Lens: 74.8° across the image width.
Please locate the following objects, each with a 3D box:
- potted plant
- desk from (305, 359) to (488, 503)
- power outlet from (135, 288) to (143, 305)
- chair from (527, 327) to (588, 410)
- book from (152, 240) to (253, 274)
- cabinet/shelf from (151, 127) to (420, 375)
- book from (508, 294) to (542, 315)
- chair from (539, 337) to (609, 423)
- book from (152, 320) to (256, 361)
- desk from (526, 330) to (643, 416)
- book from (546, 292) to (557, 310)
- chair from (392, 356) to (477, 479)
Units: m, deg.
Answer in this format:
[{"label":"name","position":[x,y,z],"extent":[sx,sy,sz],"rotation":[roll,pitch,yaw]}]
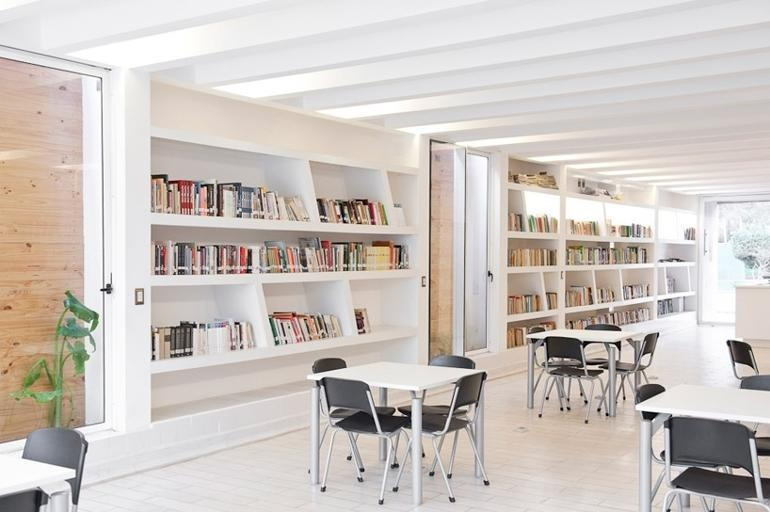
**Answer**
[{"label":"potted plant","position":[-3.151,1.014,4.841],"extent":[0.703,1.331,0.408],"rotation":[0,0,-25]},{"label":"desk","position":[-0.025,1.521,4.975],"extent":[1.506,0.994,1.421],"rotation":[-3,-3,37]},{"label":"power outlet","position":[-2.541,0.432,5.215],"extent":[0.016,0.176,0.096],"rotation":[1,0,32]},{"label":"chair","position":[2.524,1.700,7.318],"extent":[0.895,0.987,0.658],"rotation":[8,4,-5]},{"label":"book","position":[-2.061,0.045,5.804],"extent":[0.196,0.366,1.212],"rotation":[0,0,45]},{"label":"cabinet/shelf","position":[-1.369,-0.074,6.521],"extent":[0.868,2.327,4.758],"rotation":[0,-2,44]},{"label":"book","position":[2.848,1.014,10.329],"extent":[0.193,0.365,1.110],"rotation":[0,0,44]},{"label":"chair","position":[2.788,1.688,7.566],"extent":[0.845,1.111,1.957],"rotation":[0,0,19]},{"label":"book","position":[-2.096,0.965,5.741],"extent":[1.080,0.349,0.148],"rotation":[1,0,-39]},{"label":"desk","position":[2.802,1.677,7.375],"extent":[1.515,0.985,1.461],"rotation":[-2,-3,30]},{"label":"book","position":[3.611,1.019,10.909],"extent":[0.260,0.342,0.441],"rotation":[-2,-2,33]},{"label":"chair","position":[0.400,1.447,5.438],"extent":[0.782,1.002,0.861],"rotation":[-5,-10,38]}]
